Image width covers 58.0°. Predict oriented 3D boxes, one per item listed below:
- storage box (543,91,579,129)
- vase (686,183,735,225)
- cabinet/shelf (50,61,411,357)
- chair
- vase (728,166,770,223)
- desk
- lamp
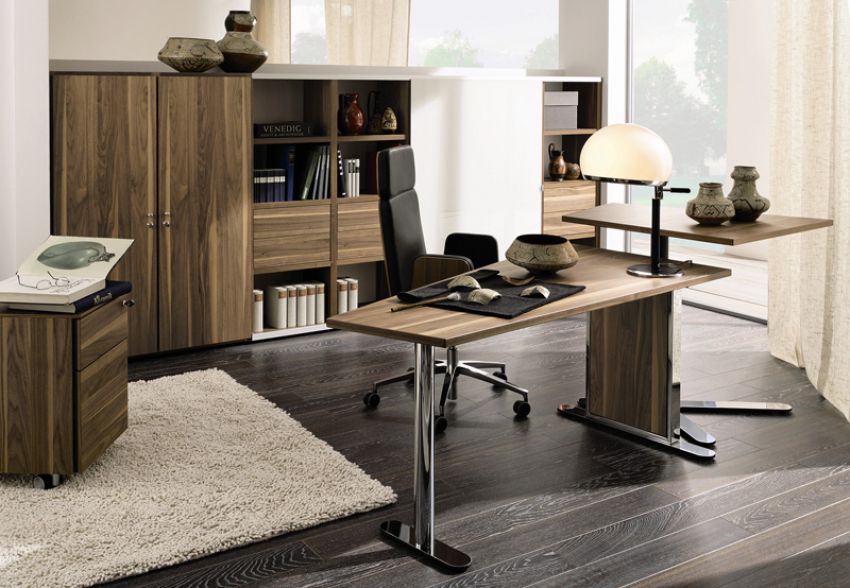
[{"bbox_3d":[1.261,-1.691,7.151,0.422,0.343,0.117,-13,17,-42],"label":"storage box"},{"bbox_3d":[1.609,-0.508,4.383,0.282,0.202,0.264,2,10,25],"label":"vase"},{"bbox_3d":[-1.448,-0.594,5.431,2.717,1.553,0.478,-5,9,-39],"label":"cabinet/shelf"},{"bbox_3d":[0.275,-0.090,5.089,1.225,1.597,1.041,9,16,18],"label":"chair"},{"bbox_3d":[1.867,-0.596,4.537,0.350,0.288,0.318,5,19,14],"label":"vase"},{"bbox_3d":[0.817,0.355,4.025,2.544,1.411,1.060,-12,17,-41],"label":"desk"},{"bbox_3d":[1.113,-0.477,3.931,0.514,0.765,0.382,-13,17,-40],"label":"lamp"}]
